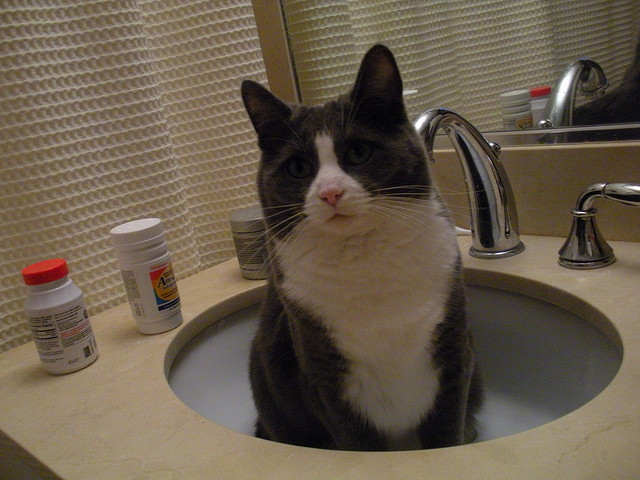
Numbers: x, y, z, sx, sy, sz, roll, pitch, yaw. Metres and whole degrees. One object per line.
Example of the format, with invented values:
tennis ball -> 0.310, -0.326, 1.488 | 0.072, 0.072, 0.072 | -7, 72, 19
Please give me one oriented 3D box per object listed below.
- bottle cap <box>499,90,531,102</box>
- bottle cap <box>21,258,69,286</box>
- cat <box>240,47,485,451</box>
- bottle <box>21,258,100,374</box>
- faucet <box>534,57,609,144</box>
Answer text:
bottle cap -> 0.349, -0.257, 0.893 | 0.054, 0.021, 0.008 | 17, 35, 41
bottle cap -> -0.437, 0.053, 0.799 | 0.062, 0.029, 0.048 | -13, 25, -23
cat -> 0.037, 0.041, 0.599 | 0.270, 0.508, 0.214 | -5, 27, 1
bottle -> -0.425, 0.127, 0.817 | 0.088, 0.183, 0.086 | -4, 27, 2
faucet -> 0.417, -0.234, 0.838 | 0.167, 0.087, 0.052 | -41, 33, -20
